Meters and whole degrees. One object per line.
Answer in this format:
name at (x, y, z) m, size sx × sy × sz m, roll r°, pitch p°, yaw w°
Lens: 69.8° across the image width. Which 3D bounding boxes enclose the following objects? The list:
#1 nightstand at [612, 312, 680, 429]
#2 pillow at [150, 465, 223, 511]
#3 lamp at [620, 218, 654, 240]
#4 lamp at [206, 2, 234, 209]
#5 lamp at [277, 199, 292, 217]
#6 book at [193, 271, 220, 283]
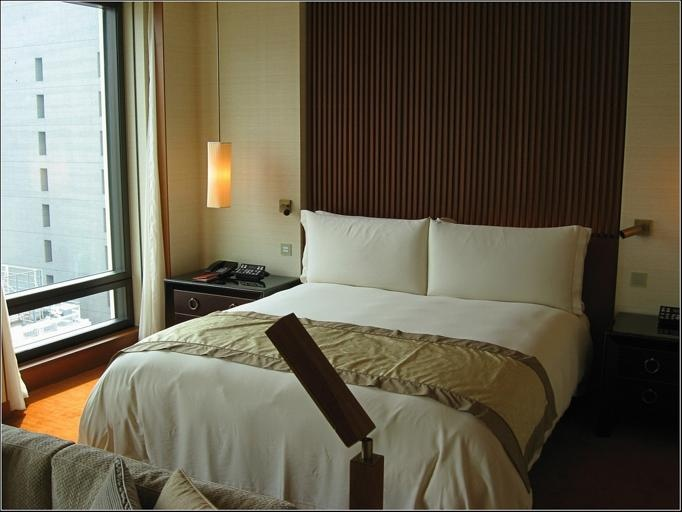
nightstand at (1.821, 0.689, 2.944) m, size 0.377 × 0.572 × 0.578 m, roll 1°, pitch 5°, yaw 20°
pillow at (-0.448, 0.681, 1.399) m, size 0.127 × 0.040 × 0.131 m, roll 40°, pitch -8°, yaw -21°
lamp at (1.975, -0.211, 3.289) m, size 0.189 × 0.120 × 0.163 m, roll -13°, pitch 16°, yaw -41°
lamp at (-1.093, -1.328, 4.266) m, size 0.229 × 1.760 × 0.498 m, roll -4°, pitch 13°, yaw -12°
lamp at (-0.492, -0.428, 4.300) m, size 0.131 × 0.140 × 0.057 m, roll 2°, pitch 13°, yaw 15°
book at (-1.156, 0.186, 4.206) m, size 0.130 × 0.033 × 0.134 m, roll 3°, pitch 12°, yaw 21°
